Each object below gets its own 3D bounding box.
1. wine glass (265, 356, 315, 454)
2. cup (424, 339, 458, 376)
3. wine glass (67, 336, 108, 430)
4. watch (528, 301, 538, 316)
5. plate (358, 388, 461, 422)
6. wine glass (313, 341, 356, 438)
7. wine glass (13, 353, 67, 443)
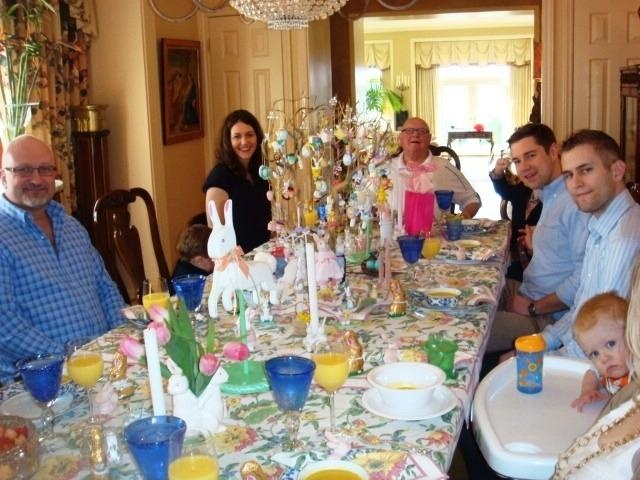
[{"bbox_3d":[-0.070,0.381,1.256,0.114,0.230,0.192,-7,13,-10],"label":"wine glass"},{"bbox_3d":[0.362,0.340,1.572,0.094,0.130,0.099,-1,17,0],"label":"cup"},{"bbox_3d":[-0.659,0.381,1.447,0.085,0.198,0.262,-11,15,-28],"label":"wine glass"},{"bbox_3d":[1.105,0.363,2.657,0.024,0.062,0.043,3,-3,-10],"label":"watch"},{"bbox_3d":[0.242,0.440,1.371,0.254,0.027,0.154,-4,14,4],"label":"plate"},{"bbox_3d":[0.031,0.367,1.330,0.087,0.222,0.233,-5,13,-2],"label":"wine glass"},{"bbox_3d":[-0.730,0.423,1.347,0.117,0.208,0.134,6,30,2],"label":"wine glass"}]
